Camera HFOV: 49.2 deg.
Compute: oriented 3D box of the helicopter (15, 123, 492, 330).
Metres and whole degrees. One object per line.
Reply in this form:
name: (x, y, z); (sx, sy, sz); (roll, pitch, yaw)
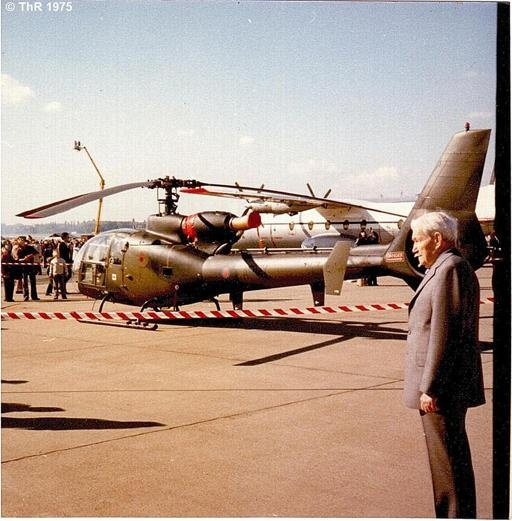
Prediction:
helicopter: (0.173, -0.433, 10.858); (8.614, 2.618, 7.435); (-4, 3, -45)
